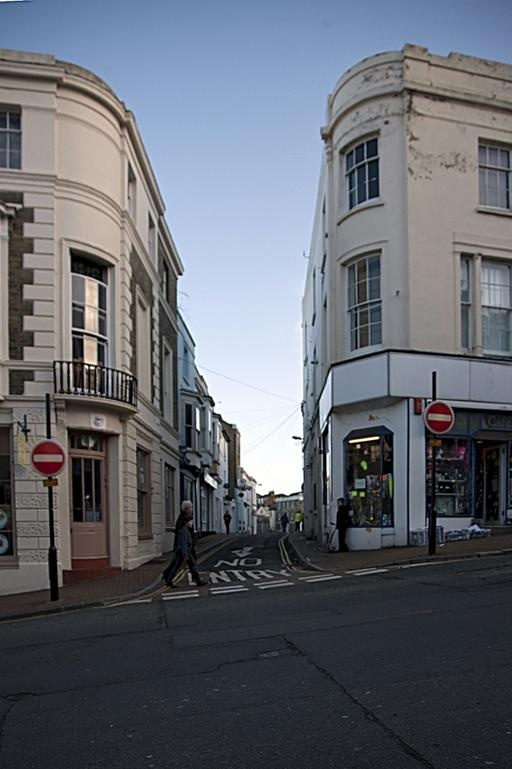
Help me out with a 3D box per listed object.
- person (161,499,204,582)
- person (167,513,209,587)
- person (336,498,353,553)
[{"bbox_3d":[-1.254,2.665,14.129,0.584,1.644,0.440,-2,18,-15],"label":"person"},{"bbox_3d":[-1.234,2.784,14.109,0.657,1.248,0.945,0,-7,-16],"label":"person"},{"bbox_3d":[2.060,3.337,19.818,0.322,1.226,0.787,-2,-7,13],"label":"person"}]
